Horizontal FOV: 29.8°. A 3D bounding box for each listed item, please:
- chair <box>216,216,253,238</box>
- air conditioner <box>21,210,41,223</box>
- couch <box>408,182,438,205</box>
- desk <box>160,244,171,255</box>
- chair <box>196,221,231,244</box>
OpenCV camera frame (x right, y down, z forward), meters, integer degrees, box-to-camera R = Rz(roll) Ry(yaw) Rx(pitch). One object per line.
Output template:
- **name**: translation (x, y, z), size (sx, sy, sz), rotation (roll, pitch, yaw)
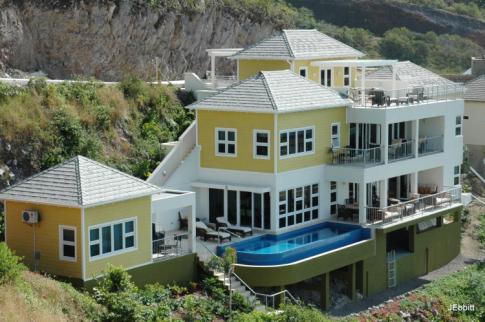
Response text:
- **chair**: translation (-0.678, 4.618, 64.914), size (2.049, 1.279, 1.338), rotation (3, 5, 28)
- **air conditioner**: translation (-13.558, 3.388, 58.007), size (1.231, 1.038, 0.694), rotation (2, 1, 33)
- **couch**: translation (14.476, 2.578, 71.783), size (1.800, 1.846, 1.861), rotation (1, 1, 44)
- **desk**: translation (-5.302, 5.824, 61.075), size (0.758, 1.021, 0.534), rotation (1, -2, -38)
- **chair**: translation (-2.167, 4.922, 63.934), size (1.996, 1.196, 1.317), rotation (2, 3, 25)
